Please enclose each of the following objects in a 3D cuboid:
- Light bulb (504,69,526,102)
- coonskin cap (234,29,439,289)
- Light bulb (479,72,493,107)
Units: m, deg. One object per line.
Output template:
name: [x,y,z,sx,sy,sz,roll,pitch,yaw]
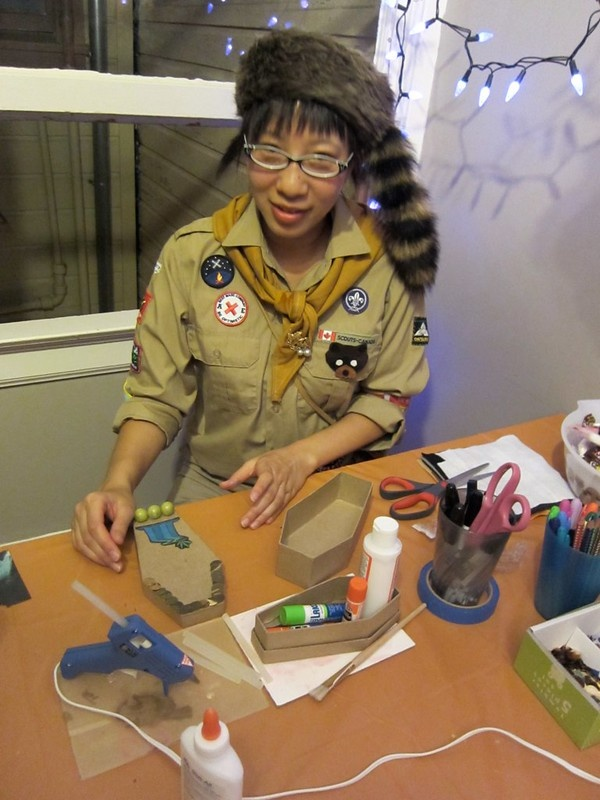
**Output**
Light bulb: [0.490,-0.719,1.348,0.034,0.066,0.081,14,26,13]
coonskin cap: [0.088,-0.420,1.113,0.400,0.436,0.192,-4,28,-23]
Light bulb: [0.455,-0.763,1.453,0.013,0.070,0.039,1,26,-13]
